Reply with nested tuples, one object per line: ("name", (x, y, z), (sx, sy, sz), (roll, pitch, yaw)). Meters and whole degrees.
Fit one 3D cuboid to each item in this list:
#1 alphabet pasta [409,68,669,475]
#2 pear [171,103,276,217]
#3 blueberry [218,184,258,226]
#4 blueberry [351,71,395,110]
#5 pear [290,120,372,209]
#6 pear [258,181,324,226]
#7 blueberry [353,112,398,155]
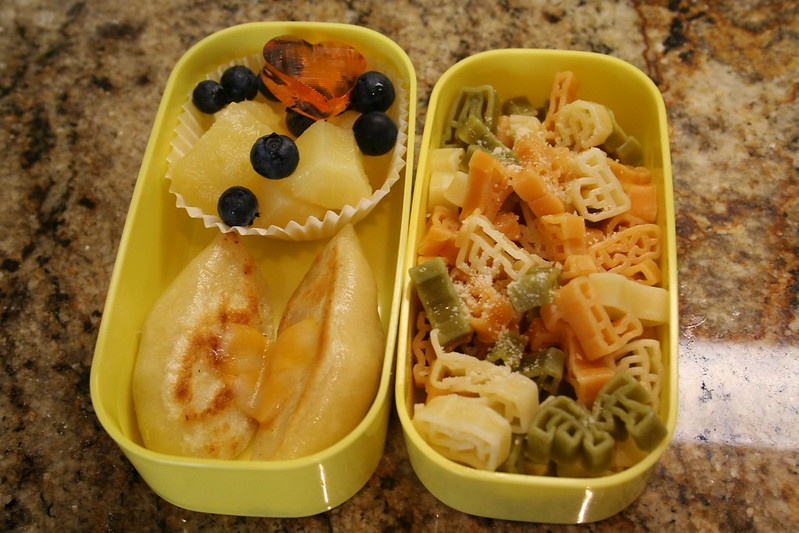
("alphabet pasta", (0.393, -0.016, 2.683), (0.642, 0.369, 1.159), (3, 76, 4))
("pear", (-0.507, -0.372, 2.959), (0.316, 0.425, 0.307), (-10, 118, -9))
("blueberry", (-0.482, -0.181, 2.817), (0.104, 0.124, 0.121), (22, 105, 4))
("blueberry", (-0.076, -0.557, 2.926), (0.113, 0.120, 0.148), (7, 103, 17))
("pear", (-0.227, -0.303, 2.781), (0.252, 0.103, 0.253), (23, 82, -6))
("pear", (-0.341, -0.219, 2.923), (0.203, 0.288, 0.120), (-5, 100, -5))
("blueberry", (-0.076, -0.423, 2.882), (0.141, 0.153, 0.160), (1, 98, -14))
